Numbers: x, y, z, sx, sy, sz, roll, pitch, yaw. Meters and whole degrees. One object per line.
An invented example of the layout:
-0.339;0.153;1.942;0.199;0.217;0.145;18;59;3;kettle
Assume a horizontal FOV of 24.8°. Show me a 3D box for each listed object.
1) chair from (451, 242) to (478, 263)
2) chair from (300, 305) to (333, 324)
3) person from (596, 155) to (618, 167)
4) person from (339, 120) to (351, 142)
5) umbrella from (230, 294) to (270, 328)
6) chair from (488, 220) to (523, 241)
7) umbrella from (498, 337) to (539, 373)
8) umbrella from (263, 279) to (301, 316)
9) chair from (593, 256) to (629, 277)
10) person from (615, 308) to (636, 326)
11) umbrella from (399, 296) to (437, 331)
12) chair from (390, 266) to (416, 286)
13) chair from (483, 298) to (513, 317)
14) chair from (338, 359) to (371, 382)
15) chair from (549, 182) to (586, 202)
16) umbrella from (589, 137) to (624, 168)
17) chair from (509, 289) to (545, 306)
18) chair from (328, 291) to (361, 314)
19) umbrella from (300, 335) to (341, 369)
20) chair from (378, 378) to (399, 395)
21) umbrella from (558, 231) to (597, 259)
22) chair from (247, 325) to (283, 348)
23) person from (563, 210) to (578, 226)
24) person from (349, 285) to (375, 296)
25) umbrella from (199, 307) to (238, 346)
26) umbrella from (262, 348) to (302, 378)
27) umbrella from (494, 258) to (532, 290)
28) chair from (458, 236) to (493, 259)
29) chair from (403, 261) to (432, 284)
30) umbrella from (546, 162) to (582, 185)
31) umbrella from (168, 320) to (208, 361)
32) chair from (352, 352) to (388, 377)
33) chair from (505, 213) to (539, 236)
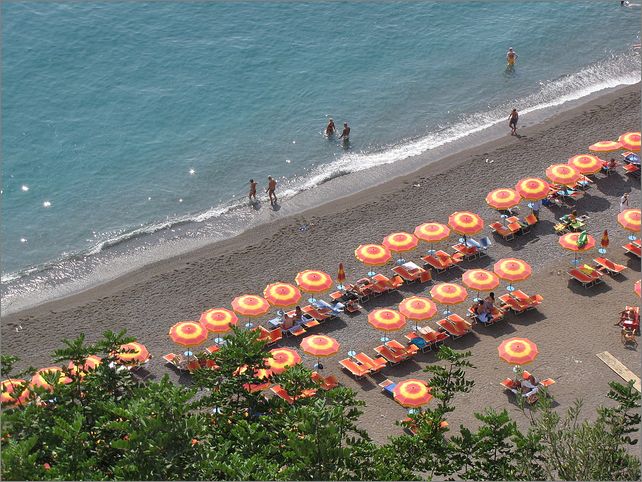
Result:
8.389;0.519;86.450;0.803;0.706;1.305;-24;44;-22;chair
-0.289;4.068;83.573;1.436;0.832;0.776;40;73;15;chair
17.724;-4.979;90.635;0.777;0.366;0.870;4;33;11;person
1.521;-7.514;98.593;0.768;1.192;1.644;-10;29;5;person
-3.897;3.815;82.192;1.890;1.409;1.512;-19;31;-15;umbrella
10.913;-0.847;87.334;1.243;0.719;1.255;-23;53;-19;chair
10.631;6.145;79.252;1.855;1.679;1.806;33;64;32;umbrella
-2.200;3.098;82.428;1.936;1.031;1.597;-11;29;-4;umbrella
16.622;1.400;84.311;1.132;0.493;1.767;-26;39;-33;chair
16.842;4.128;81.054;1.576;1.044;0.821;-3;61;-3;person
5.429;4.175;81.522;1.934;1.977;1.646;-5;31;11;umbrella
4.845;1.926;85.262;0.772;0.354;1.194;-30;53;-28;chair
9.897;3.713;82.506;1.335;0.554;1.389;39;43;24;chair
1.702;6.965;80.398;0.852;0.863;1.590;-35;62;-30;chair
14.933;-2.813;89.292;2.091;0.531;1.159;29;47;32;chair
17.473;-5.746;90.407;1.239;0.627;1.135;21;44;25;umbrella
11.558;3.105;82.910;0.952;0.714;1.291;-19;54;-32;chair
1.461;3.371;84.248;1.058;0.569;1.552;-25;50;-24;chair
-0.099;5.950;80.118;1.628;1.410;1.443;-19;51;-18;umbrella
3.601;7.824;79.268;0.739;0.362;1.310;-33;51;-23;chair
14.722;0.248;84.460;1.985;2.072;1.710;-6;31;8;umbrella
-3.149;5.110;81.331;2.016;0.679;1.462;-18;36;-36;chair
14.728;-1.377;86.740;0.464;1.072;0.492;19;7;4;person
2.324;2.758;84.288;1.054;0.525;0.624;-18;48;-18;person
-5.715;4.458;81.366;2.111;1.683;1.617;-7;50;-12;umbrella
-2.066;6.257;78.372;1.723;1.399;2.063;-4;29;11;umbrella
10.799;1.691;82.933;1.839;1.097;1.749;-22;31;-22;umbrella
8.815;0.275;86.293;1.383;0.777;1.653;-21;42;-22;chair
5.613;1.681;85.110;0.971;0.750;1.523;-34;54;-26;chair
14.609;-3.893;88.284;1.760;1.313;1.729;-17;30;-11;umbrella
-7.250;5.225;80.791;1.976;1.251;1.545;-11;29;-2;umbrella
2.657;6.657;80.620;0.836;0.886;1.639;-34;61;-31;chair
11.912;-1.148;87.425;1.548;0.603;1.277;-18;46;-22;chair
